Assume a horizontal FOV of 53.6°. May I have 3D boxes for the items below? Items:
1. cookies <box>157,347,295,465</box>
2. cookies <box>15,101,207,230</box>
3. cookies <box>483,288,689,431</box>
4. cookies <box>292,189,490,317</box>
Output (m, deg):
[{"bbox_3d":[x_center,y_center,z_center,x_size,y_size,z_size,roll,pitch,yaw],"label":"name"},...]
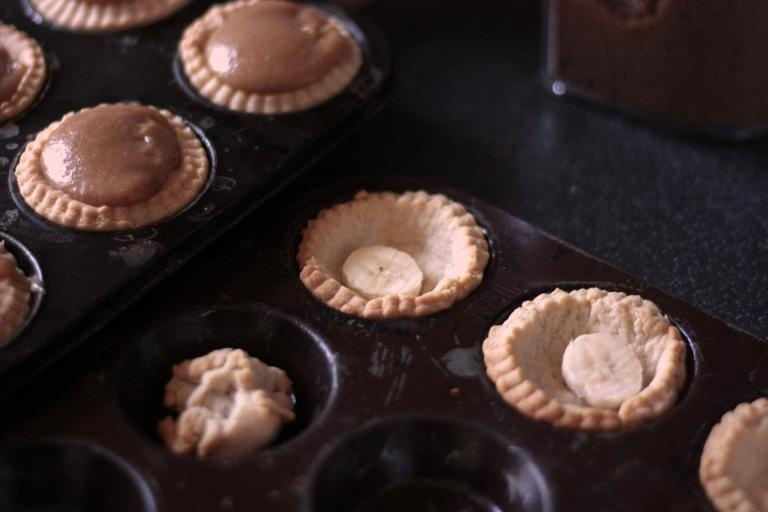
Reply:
[{"bbox_3d":[-0.300,0.280,1.435,0.229,0.086,0.210,-1,65,4],"label":"cookies"},{"bbox_3d":[-0.527,-0.165,1.513,0.287,0.064,0.297,-30,57,-24],"label":"cookies"},{"bbox_3d":[0.373,0.191,1.441,0.370,0.079,0.275,-1,65,4],"label":"cookies"},{"bbox_3d":[0.021,-0.004,1.589,0.397,0.097,0.303,-4,65,3],"label":"cookies"}]
